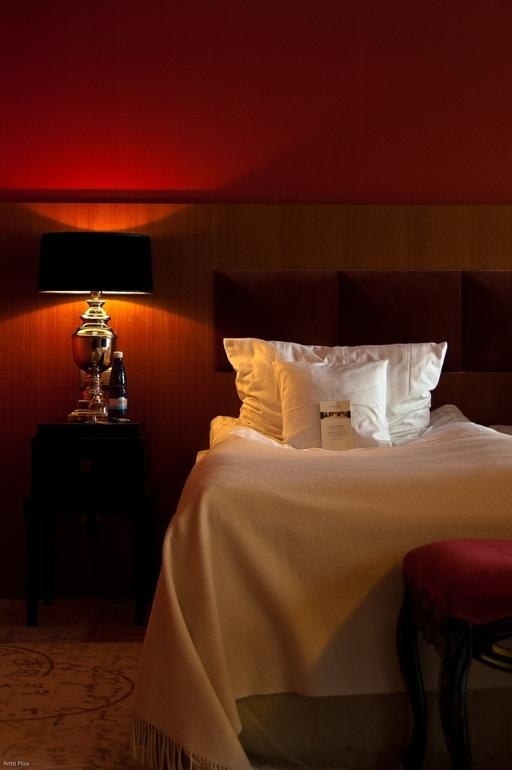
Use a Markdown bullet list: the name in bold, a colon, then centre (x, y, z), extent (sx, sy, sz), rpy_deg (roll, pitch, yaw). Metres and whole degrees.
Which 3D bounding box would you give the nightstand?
- **nightstand**: centre (-0.626, 0.393, 2.498), extent (0.440, 0.788, 0.476), rpy_deg (-1, 24, -15)

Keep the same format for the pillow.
- **pillow**: centre (0.272, 0.006, 2.352), extent (0.811, 0.406, 0.388), rpy_deg (-3, -3, 14)

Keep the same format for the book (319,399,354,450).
- **book**: centre (0.254, 0.128, 2.055), extent (0.120, 0.245, 0.030), rpy_deg (-1, -25, 2)
